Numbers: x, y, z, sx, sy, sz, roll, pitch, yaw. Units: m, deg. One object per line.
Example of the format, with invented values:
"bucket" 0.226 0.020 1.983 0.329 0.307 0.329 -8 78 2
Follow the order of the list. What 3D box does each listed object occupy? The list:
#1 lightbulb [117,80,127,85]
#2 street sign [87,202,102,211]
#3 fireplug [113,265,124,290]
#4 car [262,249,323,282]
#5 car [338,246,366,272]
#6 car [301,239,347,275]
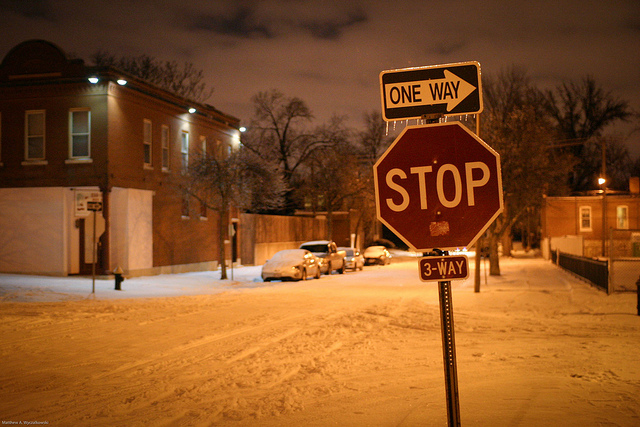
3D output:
"lightbulb" -9.186 -6.123 28.654 0.392 0.203 0.369 -1 3 -23
"street sign" -8.163 -0.248 22.314 0.477 0.297 0.493 -1 3 -29
"fireplug" -8.056 2.575 24.670 0.277 0.917 0.565 -1 3 -19
"car" -1.454 2.780 32.149 1.687 1.540 3.485 2 3 34
"car" 2.074 3.066 40.271 1.127 0.984 2.595 -1 -9 9
"car" 0.450 2.598 37.012 1.284 1.219 3.045 -1 -8 16
